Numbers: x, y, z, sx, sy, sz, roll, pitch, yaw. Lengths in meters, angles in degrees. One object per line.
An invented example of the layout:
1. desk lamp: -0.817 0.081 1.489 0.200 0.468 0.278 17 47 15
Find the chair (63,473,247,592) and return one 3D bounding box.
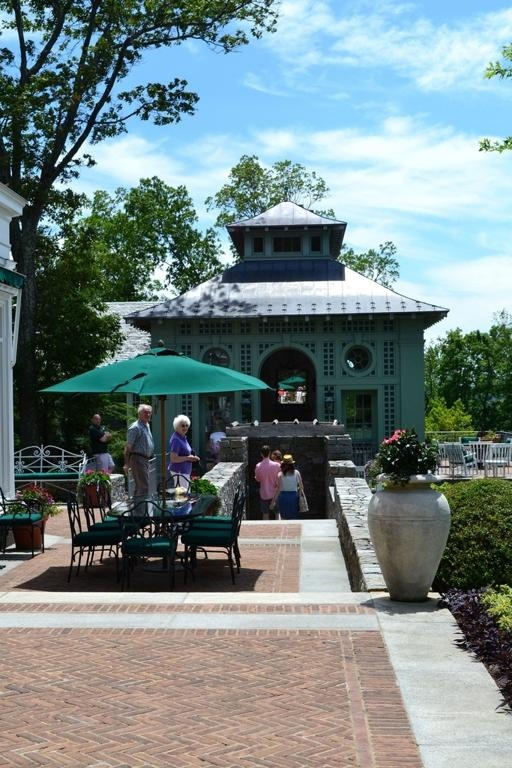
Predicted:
1. chair: -1.198 1.844 9.027 2.002 0.957 2.753 0 -6 -14

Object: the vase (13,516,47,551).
1. vase: -3.182 2.134 10.613 0.462 0.343 0.469 5 -11 -33

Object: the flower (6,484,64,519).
1. flower: -3.394 1.787 11.246 0.722 0.602 0.750 1 2 32

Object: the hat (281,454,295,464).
1. hat: 0.614 1.461 14.458 0.329 0.117 0.360 -1 -6 -3

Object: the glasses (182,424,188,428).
1. glasses: -0.996 0.585 10.573 0.070 0.080 0.039 2 -32 -14

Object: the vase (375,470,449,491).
1. vase: 1.314 0.796 6.074 0.585 0.215 0.600 1 -5 -6

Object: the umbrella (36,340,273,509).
1. umbrella: -1.003 0.370 9.134 2.216 1.362 2.166 4 -6 -41

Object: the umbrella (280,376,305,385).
1. umbrella: 1.358 -0.141 27.408 0.895 0.395 0.438 -2 -6 5

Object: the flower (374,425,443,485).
1. flower: 1.215 0.603 6.184 0.436 0.427 0.439 3 -14 32
